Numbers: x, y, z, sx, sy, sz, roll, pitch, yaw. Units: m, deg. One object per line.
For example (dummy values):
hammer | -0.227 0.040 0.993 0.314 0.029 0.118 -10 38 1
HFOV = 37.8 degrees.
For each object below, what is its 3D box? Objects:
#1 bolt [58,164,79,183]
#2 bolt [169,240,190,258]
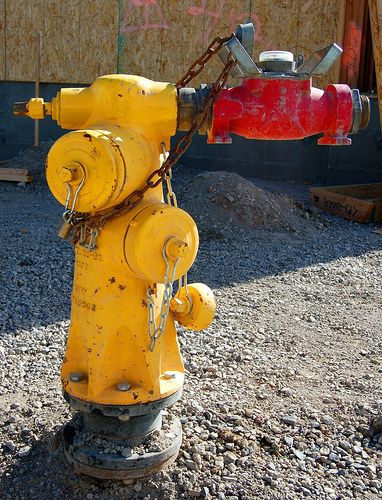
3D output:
bolt | -0.386 -0.235 1.739 0.068 0.062 0.036 18 24 31
bolt | -0.037 -0.003 1.764 0.063 0.048 0.059 -1 19 -7
